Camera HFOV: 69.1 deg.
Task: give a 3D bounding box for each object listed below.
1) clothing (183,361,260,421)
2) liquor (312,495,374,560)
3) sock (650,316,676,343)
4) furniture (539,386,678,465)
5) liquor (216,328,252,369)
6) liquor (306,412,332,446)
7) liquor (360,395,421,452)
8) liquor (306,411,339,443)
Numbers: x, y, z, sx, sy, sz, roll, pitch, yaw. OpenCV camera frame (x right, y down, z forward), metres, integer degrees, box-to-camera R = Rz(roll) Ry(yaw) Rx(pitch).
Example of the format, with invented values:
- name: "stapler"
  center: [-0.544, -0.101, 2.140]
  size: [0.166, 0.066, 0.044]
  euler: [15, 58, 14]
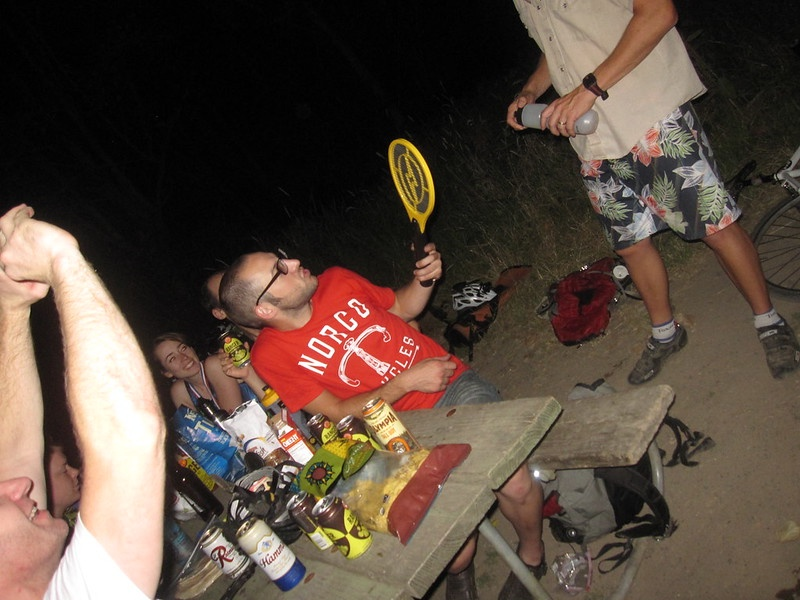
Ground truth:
- name: "clothing"
  center: [-1.627, 0.934, 5.329]
  size: [0.572, 0.213, 0.443]
  euler: [-15, -30, 17]
- name: "liquor"
  center: [-0.283, 1.094, 2.839]
  size: [0.173, 0.326, 0.179]
  euler: [-25, 19, 13]
- name: "sock"
  center: [1.854, 0.207, 4.087]
  size: [0.129, 0.157, 0.170]
  euler: [-9, -13, 15]
- name: "furniture"
  center: [1.074, 0.691, 3.088]
  size: [0.708, 0.208, 0.411]
  euler: [-31, 8, 48]
- name: "liquor"
  center: [-1.373, 0.404, 4.729]
  size: [0.155, 0.159, 0.391]
  euler: [-38, 46, -5]
- name: "liquor"
  center: [-0.489, 0.777, 3.483]
  size: [0.133, 0.236, 0.128]
  euler: [-21, -6, -12]
- name: "liquor"
  center: [-0.061, 0.696, 3.117]
  size: [0.166, 0.430, 0.165]
  euler: [-32, 29, -3]
- name: "liquor"
  center: [-0.469, 0.767, 3.497]
  size: [0.123, 0.228, 0.124]
  euler: [-29, 2, -12]
